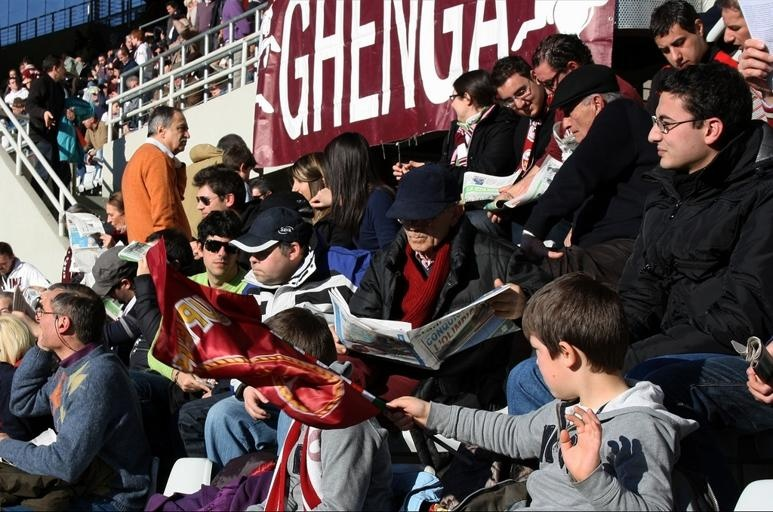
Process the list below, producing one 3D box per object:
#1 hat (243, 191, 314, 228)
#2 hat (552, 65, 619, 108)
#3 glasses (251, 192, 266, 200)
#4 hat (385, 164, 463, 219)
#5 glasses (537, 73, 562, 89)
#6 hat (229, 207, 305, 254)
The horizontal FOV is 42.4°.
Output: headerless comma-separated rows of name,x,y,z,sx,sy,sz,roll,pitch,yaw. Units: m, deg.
hat,-0.984,-0.455,8.853,0.589,0.228,0.387,-6,7,10
hat,1.480,-1.256,7.401,0.397,0.241,0.296,-20,1,-9
glasses,-1.355,-0.637,10.575,0.163,0.049,0.155,7,-4,-38
hat,0.333,-0.478,7.101,0.339,0.256,0.479,5,13,42
glasses,1.359,-1.412,8.154,0.117,0.036,0.121,15,1,36
hat,-0.922,-0.211,7.651,0.508,0.290,0.313,-13,11,-23
